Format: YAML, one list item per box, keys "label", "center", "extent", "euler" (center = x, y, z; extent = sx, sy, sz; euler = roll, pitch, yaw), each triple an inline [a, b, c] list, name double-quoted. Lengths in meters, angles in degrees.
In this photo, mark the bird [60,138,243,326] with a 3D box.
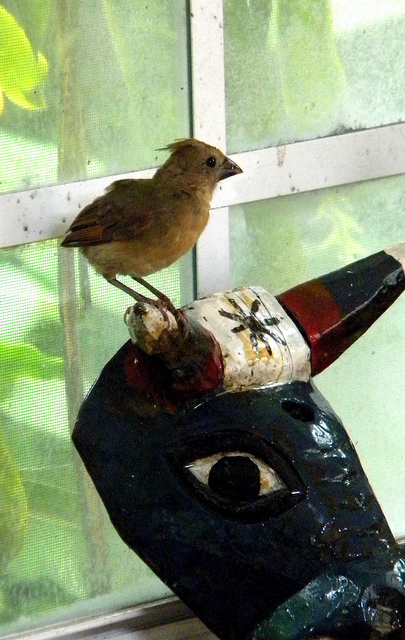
- label: "bird"
  center: [-0.114, -0.195, 1.358]
  extent: [0.407, 0.354, 0.200]
  euler: [3, 9, 20]
